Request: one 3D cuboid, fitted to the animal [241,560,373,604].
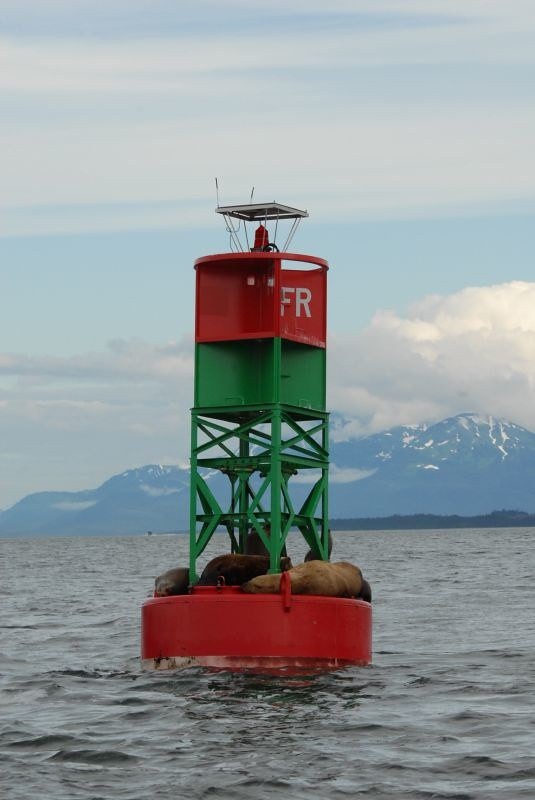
[{"bbox_3d":[1.024,3.373,28.755,0.998,0.692,2.078,-8,-1,42],"label":"animal"}]

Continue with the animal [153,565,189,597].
[{"bbox_3d":[-1.717,3.378,30.163,0.485,0.335,0.657,1,-1,4],"label":"animal"}]

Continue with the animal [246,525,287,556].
[{"bbox_3d":[0.006,2.857,33.022,0.577,0.812,0.810,0,-8,5],"label":"animal"}]
